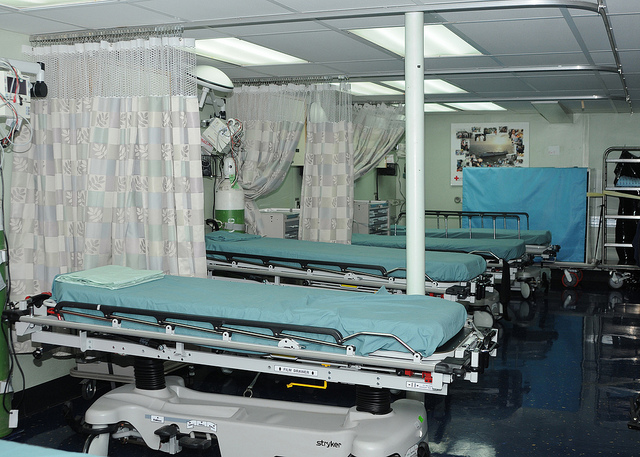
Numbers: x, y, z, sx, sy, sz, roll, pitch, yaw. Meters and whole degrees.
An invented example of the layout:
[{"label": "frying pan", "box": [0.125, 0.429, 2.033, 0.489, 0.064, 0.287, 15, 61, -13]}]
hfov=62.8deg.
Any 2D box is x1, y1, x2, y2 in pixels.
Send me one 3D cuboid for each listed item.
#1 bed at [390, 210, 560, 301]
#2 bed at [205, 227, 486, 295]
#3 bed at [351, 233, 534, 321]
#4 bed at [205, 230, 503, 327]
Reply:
[{"label": "bed", "box": [2.792, 0.417, 9.608, 2.753, 1.126, 1.616, 1, 4, 24]}, {"label": "bed", "box": [0.038, 0.369, 5.841, 2.604, 0.237, 1.178, 2, 5, 20]}, {"label": "bed", "box": [1.681, 0.606, 7.401, 2.280, 0.576, 1.255, 1, 3, 20]}, {"label": "bed", "box": [0.147, 0.415, 5.887, 2.858, 0.587, 1.395, 1, 4, 19]}]
